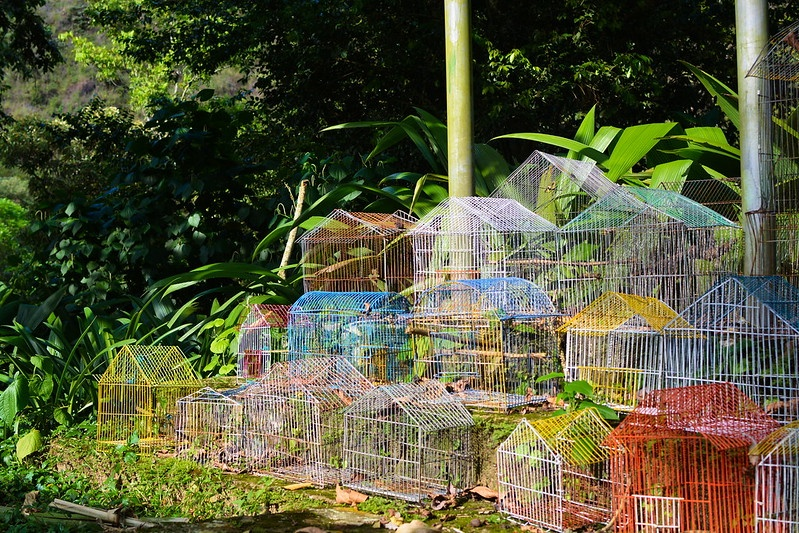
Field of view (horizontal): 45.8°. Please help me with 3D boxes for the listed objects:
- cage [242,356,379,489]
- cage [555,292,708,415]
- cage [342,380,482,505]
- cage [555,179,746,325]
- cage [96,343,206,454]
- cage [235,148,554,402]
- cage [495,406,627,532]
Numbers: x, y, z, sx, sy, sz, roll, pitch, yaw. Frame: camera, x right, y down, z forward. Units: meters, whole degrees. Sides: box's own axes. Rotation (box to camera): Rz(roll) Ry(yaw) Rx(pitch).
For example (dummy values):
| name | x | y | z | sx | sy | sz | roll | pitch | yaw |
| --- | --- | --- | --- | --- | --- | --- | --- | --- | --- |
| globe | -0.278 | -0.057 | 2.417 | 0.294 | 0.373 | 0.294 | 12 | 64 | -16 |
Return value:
| name | x | y | z | sx | sy | sz | roll | pitch | yaw |
| --- | --- | --- | --- | --- | --- | --- | --- | --- | --- |
| cage | -0.716 | 1.183 | 7.916 | 0.916 | 1.055 | 0.977 | 0 | 1 | 32 |
| cage | 1.928 | 0.776 | 7.862 | 0.785 | 1.012 | 0.994 | 0 | -15 | 20 |
| cage | 0.043 | 1.363 | 7.431 | 0.874 | 0.931 | 0.867 | -1 | -2 | 42 |
| cage | 2.560 | -0.208 | 9.004 | 1.468 | 1.207 | 1.459 | 5 | -7 | 11 |
| cage | -2.378 | 1.121 | 8.359 | 0.548 | 0.791 | 0.682 | 2 | -3 | -11 |
| cage | 0.307 | 0.277 | 8.505 | 2.319 | 1.800 | 1.177 | 1 | -1 | 25 |
| cage | 1.129 | 1.470 | 7.042 | 0.885 | 0.954 | 0.781 | -4 | 6 | -39 |
